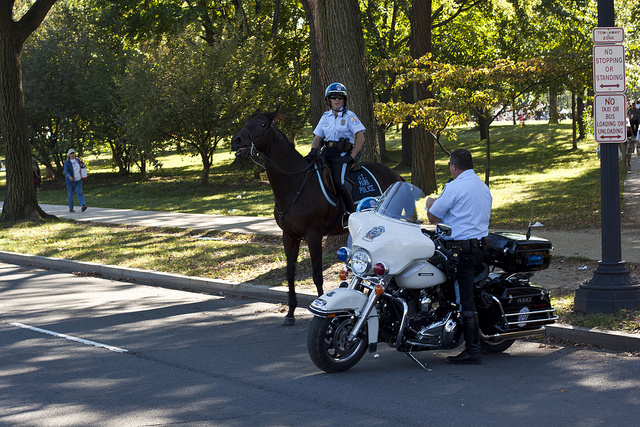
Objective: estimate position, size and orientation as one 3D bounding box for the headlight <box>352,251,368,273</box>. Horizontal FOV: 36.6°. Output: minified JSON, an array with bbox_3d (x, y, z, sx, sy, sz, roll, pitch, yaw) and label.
[{"bbox_3d":[0.792,0.959,19.132,0.509,0.488,0.128,2,3,32],"label":"headlight"}]
